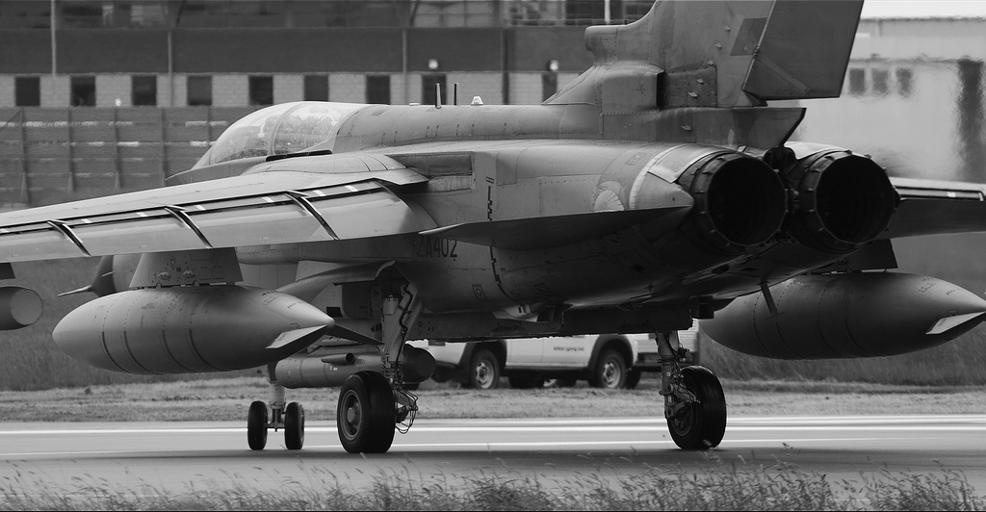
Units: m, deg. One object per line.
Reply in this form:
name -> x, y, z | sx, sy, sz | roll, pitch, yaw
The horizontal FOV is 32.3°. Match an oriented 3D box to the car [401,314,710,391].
car -> 0.691, 2.563, 53.967 | 9.046, 3.151, 3.244 | 3, 3, -39
